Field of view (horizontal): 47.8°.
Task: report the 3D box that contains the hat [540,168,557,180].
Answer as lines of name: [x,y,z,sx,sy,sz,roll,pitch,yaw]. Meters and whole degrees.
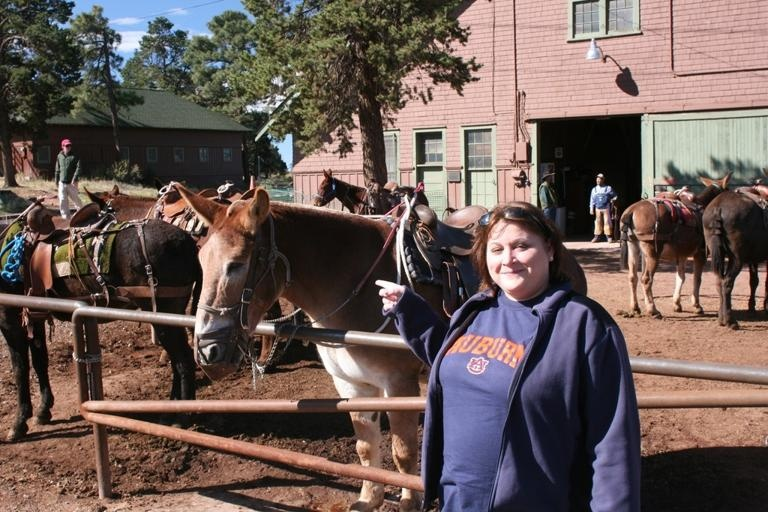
hat: [4.396,-2.206,23.310,0.387,0.141,0.352,-33,7,-4]

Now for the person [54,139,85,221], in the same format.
person: [-7.685,-1.884,21.141,0.547,1.818,1.567,-4,6,-20]

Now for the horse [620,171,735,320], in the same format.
horse: [5.341,-0.259,15.601,2.888,2.726,1.096,-1,-2,-29]

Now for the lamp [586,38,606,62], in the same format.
lamp: [5.372,-5.266,22.080,0.432,0.556,0.698,0,6,14]
